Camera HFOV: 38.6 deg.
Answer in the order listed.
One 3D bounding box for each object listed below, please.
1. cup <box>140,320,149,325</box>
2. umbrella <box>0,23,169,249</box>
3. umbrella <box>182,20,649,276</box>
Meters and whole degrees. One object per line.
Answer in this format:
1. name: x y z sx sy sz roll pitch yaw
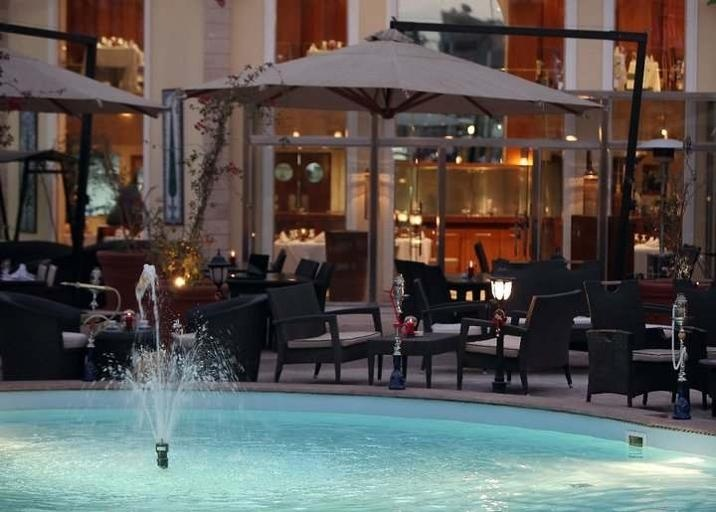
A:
1. cup: -2.149 0.667 10.239 0.048 0.051 0.072 -2 0 8
2. umbrella: -3.694 -1.679 13.792 1.596 3.100 5.072 2 -3 -19
3. umbrella: 0.536 -1.484 12.305 3.681 2.139 3.202 2 3 -8
